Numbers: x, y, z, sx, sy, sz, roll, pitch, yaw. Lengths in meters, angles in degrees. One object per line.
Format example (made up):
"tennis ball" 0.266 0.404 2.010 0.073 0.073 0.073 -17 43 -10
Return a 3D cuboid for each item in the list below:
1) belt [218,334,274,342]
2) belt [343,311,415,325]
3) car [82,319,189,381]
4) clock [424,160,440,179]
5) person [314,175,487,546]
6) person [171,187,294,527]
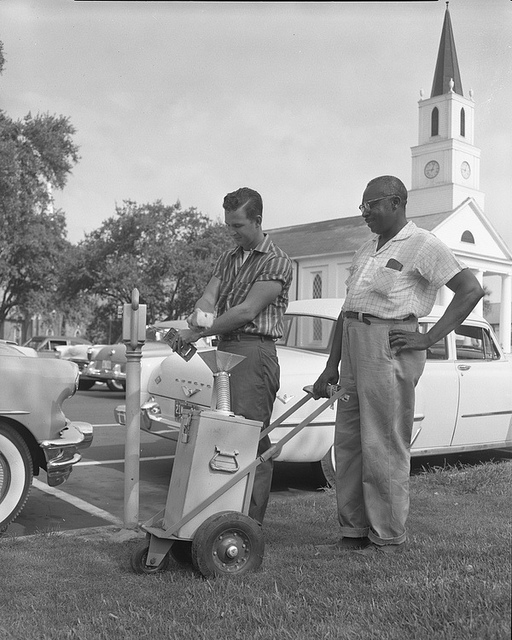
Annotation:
"belt" -0.047 0.083 4.094 0.259 0.036 0.128 -2 -2 0
"belt" 0.570 -0.014 3.957 0.332 0.069 0.132 -2 -2 16
"car" -2.127 0.572 13.597 1.990 0.848 1.191 -1 2 -38
"clock" 9.853 -8.414 47.351 0.075 1.081 1.122 7 -12 -30
"person" 0.647 0.186 3.980 0.861 1.746 0.421 -3 -2 25
"person" -0.085 0.202 4.045 0.535 1.654 0.822 -2 -2 4
